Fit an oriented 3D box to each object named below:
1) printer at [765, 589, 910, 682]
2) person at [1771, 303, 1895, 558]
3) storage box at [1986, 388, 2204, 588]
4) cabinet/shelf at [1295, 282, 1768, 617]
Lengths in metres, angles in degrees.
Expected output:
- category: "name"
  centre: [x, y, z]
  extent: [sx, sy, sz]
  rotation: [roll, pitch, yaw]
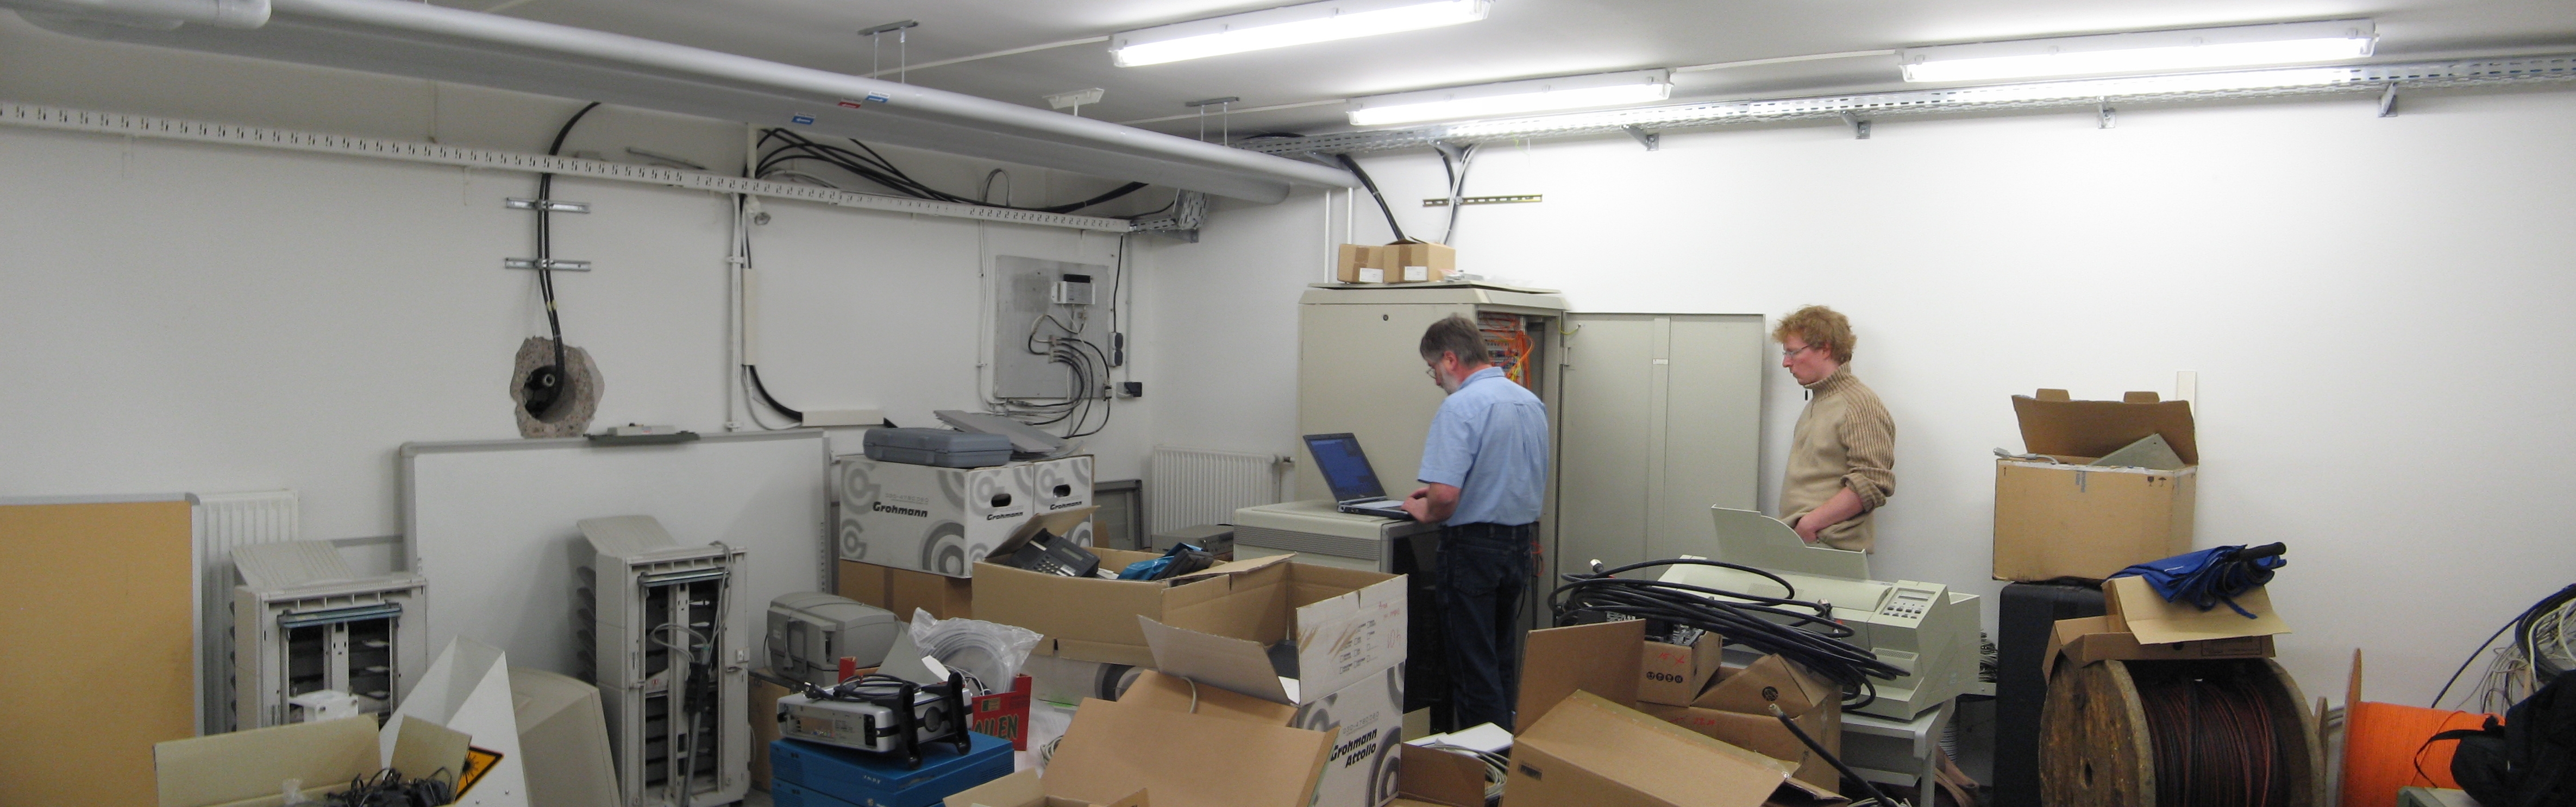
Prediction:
- category: "printer"
  centre: [-4.559, 2.291, 12.180]
  extent: [1.328, 0.531, 1.239]
  rotation: [5, 9, 40]
- category: "person"
  centre: [5.658, 0.294, 12.813]
  extent: [1.896, 2.411, 1.009]
  rotation: [2, 0, -4]
- category: "storage box"
  centre: [7.650, 0.772, 11.896]
  extent: [1.713, 1.800, 0.649]
  rotation: [0, 6, 15]
- category: "cabinet/shelf"
  centre: [2.383, 0.487, 12.307]
  extent: [5.489, 3.072, 1.606]
  rotation: [2, 8, 21]
